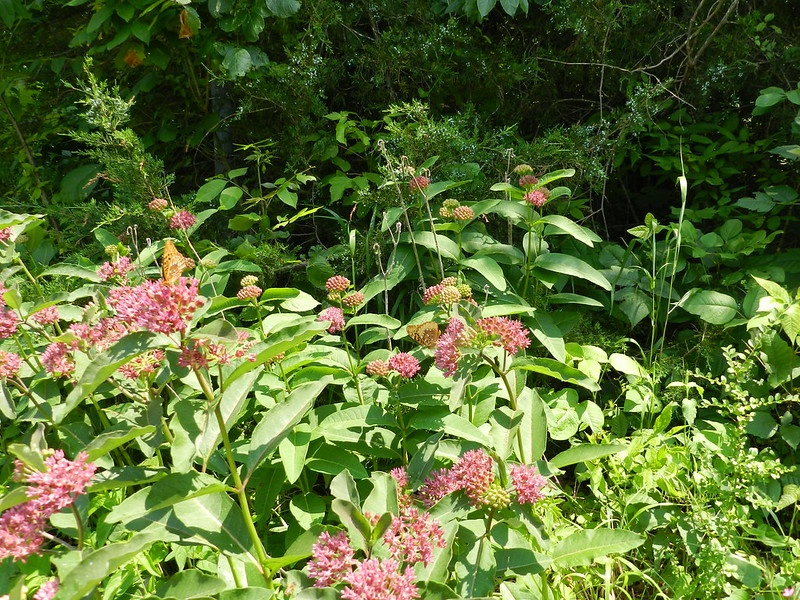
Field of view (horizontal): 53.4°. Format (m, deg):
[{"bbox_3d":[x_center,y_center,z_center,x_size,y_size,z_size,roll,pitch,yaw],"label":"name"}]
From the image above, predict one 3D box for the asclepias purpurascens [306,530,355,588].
[{"bbox_3d":[-0.231,0.935,2.939,0.178,0.142,0.186,10,26,25],"label":"asclepias purpurascens"}]
